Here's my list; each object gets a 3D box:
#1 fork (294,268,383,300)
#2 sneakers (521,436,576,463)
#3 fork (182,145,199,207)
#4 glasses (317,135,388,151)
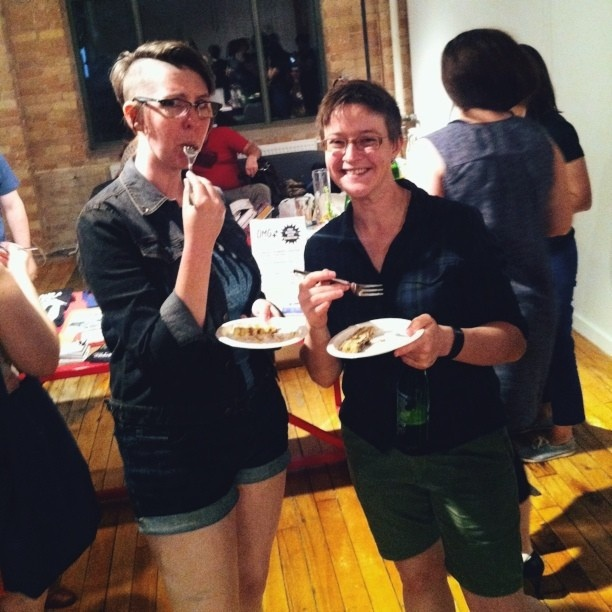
[{"bbox_3d":[0.093,-0.056,1.530,0.324,0.039,0.041,8,-13,-7],"label":"fork"},{"bbox_3d":[1.134,0.691,2.913,0.312,0.096,0.105,-3,6,0],"label":"sneakers"},{"bbox_3d":[-0.277,-0.310,1.461,0.042,0.162,0.027,2,12,10],"label":"fork"},{"bbox_3d":[0.107,-0.415,1.528,0.165,0.036,0.061,4,23,25],"label":"glasses"}]
